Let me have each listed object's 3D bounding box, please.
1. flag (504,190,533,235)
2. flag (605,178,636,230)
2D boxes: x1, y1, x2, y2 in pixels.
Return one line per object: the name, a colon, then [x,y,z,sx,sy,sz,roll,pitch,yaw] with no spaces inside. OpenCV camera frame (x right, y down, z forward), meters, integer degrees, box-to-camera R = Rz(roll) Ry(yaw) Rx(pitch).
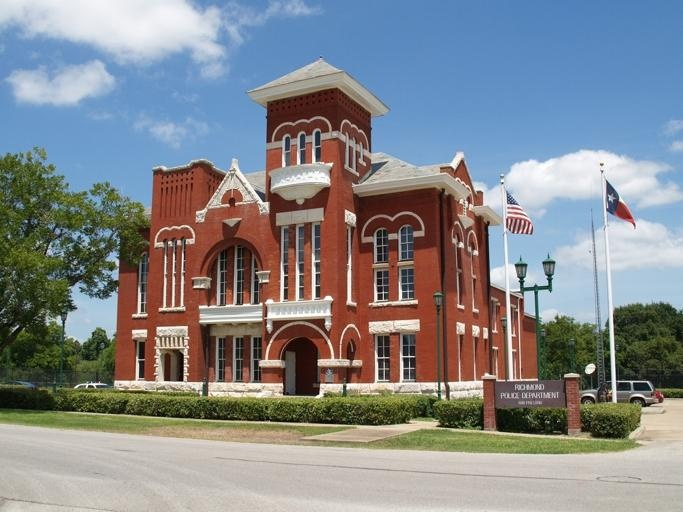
flag: [9.020,-2.360,43.872,1.345,3.596,0.288,-2,-43,5]
flag: [12.568,-2.362,38.772,1.050,2.463,2.038,-5,-14,17]
